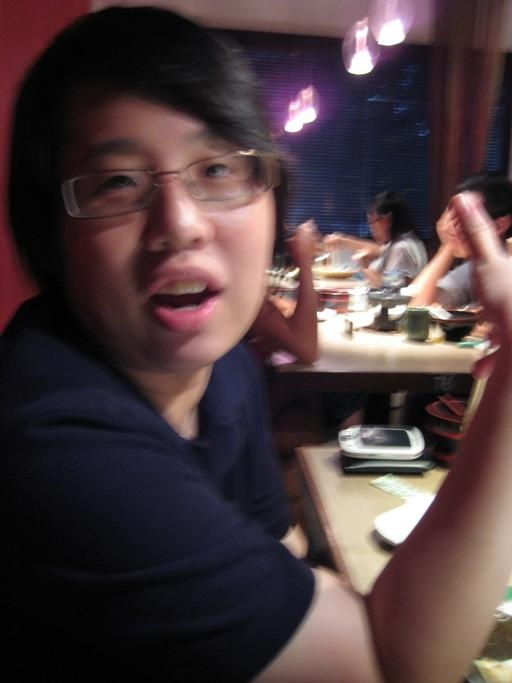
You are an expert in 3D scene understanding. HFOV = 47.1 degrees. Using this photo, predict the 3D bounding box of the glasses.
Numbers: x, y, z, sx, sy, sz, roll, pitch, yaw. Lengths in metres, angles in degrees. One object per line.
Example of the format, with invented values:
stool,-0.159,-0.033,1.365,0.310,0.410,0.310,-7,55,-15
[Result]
glasses,-0.061,-0.157,0.575,0.075,0.053,0.236,15,25,43

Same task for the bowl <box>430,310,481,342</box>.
bowl,0.519,-0.045,1.525,0.157,0.049,0.164,0,6,0

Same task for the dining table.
dining table,0.258,0.144,1.009,0.512,0.400,0.312,-2,7,-3
